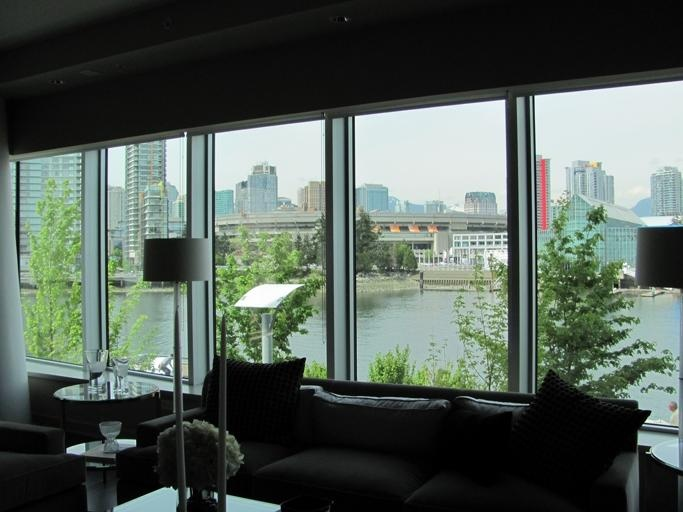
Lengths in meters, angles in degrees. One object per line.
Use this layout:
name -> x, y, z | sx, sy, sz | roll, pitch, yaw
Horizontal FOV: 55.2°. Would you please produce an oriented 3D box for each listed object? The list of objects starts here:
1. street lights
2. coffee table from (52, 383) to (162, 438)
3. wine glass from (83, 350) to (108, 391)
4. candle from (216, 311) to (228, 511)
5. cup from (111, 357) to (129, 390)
street lights -> -0.671, 0.609, 6.000 | 0.724, 0.730, 0.079 | 0, 1, 31
coffee table -> -2.110, 1.364, 5.947 | 0.898, 0.511, 0.890 | -1, -3, 4
wine glass -> -2.147, 0.974, 5.724 | 0.184, 0.349, 0.339 | -2, 2, -20
candle -> -0.520, 0.683, 2.823 | 0.041, 0.878, 0.330 | -1, 1, -11
cup -> -1.931, 1.013, 5.673 | 0.125, 0.166, 0.238 | -2, 2, -21
